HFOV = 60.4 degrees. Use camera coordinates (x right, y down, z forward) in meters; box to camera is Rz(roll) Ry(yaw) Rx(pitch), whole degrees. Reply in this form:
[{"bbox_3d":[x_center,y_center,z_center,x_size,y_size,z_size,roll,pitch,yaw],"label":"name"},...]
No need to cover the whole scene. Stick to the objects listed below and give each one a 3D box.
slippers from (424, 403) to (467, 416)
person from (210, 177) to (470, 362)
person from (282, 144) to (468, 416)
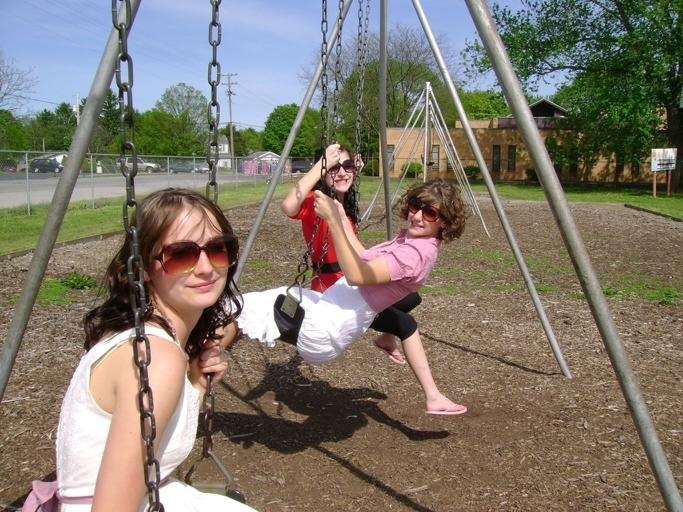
[{"bbox_3d":[0.581,0.861,3.292,0.238,0.072,0.153,-3,-6,16],"label":"slippers"},{"bbox_3d":[-0.072,0.079,3.172,1.509,0.974,0.602,3,8,-8],"label":"person"},{"bbox_3d":[0.168,0.119,3.613,1.070,1.696,1.000,-13,17,-37],"label":"person"}]
